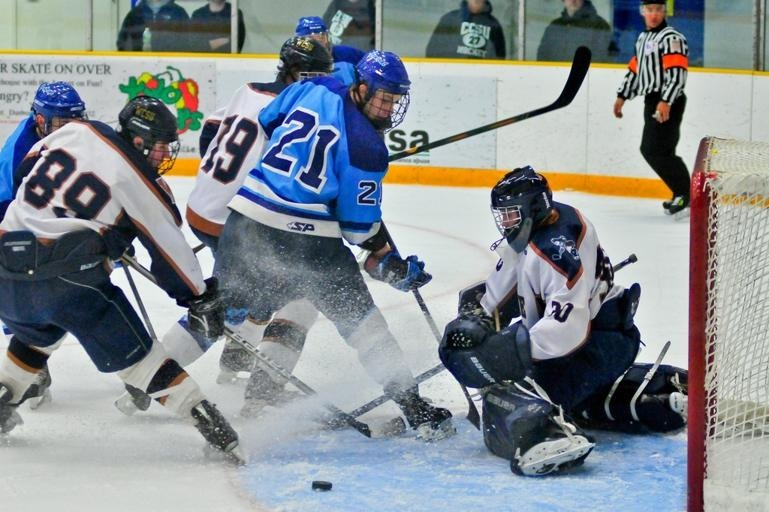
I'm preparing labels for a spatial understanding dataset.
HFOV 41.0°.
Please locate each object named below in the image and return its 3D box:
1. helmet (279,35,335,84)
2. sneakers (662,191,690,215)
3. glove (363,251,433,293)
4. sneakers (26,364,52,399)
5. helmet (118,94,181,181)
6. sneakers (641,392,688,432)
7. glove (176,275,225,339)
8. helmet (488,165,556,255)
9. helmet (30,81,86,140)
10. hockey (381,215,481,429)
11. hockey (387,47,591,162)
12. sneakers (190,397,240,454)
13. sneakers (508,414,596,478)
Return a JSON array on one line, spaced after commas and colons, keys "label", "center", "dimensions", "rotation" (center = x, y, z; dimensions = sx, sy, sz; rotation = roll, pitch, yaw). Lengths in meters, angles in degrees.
[{"label": "helmet", "center": [-0.422, -1.042, 5.475], "dimensions": [0.310, 0.269, 0.248], "rotation": [7, 15, -3]}, {"label": "sneakers", "center": [2.259, -0.393, 7.919], "dimensions": [0.261, 0.088, 0.182], "rotation": [-23, 24, -38]}, {"label": "glove", "center": [0.071, 0.073, 5.013], "dimensions": [0.307, 0.129, 0.173], "rotation": [18, 20, -18]}, {"label": "sneakers", "center": [-1.653, 0.608, 4.936], "dimensions": [0.054, 0.162, 0.066], "rotation": [15, 18, -38]}, {"label": "helmet", "center": [-1.085, -0.577, 4.720], "dimensions": [0.317, 0.300, 0.234], "rotation": [22, 20, 5]}, {"label": "sneakers", "center": [1.253, 0.709, 4.627], "dimensions": [0.223, 0.148, 0.087], "rotation": [1, -20, 3]}, {"label": "glove", "center": [-0.846, 0.234, 4.758], "dimensions": [0.263, 0.249, 0.196], "rotation": [16, 35, 42]}, {"label": "helmet", "center": [0.627, -0.216, 4.668], "dimensions": [0.301, 0.339, 0.302], "rotation": [-7, 13, 34]}, {"label": "helmet", "center": [-1.827, -0.803, 5.743], "dimensions": [0.320, 0.297, 0.252], "rotation": [14, 13, 37]}, {"label": "hockey", "center": [0.240, 0.375, 5.407], "dimensions": [0.144, 1.272, 0.154], "rotation": [-37, -13, 24]}, {"label": "hockey", "center": [0.551, -0.865, 6.131], "dimensions": [0.162, 0.501, 2.051], "rotation": [24, 30, 38]}, {"label": "sneakers", "center": [-0.739, 0.755, 4.550], "dimensions": [0.122, 0.332, 0.117], "rotation": [-39, -12, -12]}, {"label": "sneakers", "center": [0.716, 0.797, 4.359], "dimensions": [0.302, 0.130, 0.254], "rotation": [-3, 13, -10]}]
